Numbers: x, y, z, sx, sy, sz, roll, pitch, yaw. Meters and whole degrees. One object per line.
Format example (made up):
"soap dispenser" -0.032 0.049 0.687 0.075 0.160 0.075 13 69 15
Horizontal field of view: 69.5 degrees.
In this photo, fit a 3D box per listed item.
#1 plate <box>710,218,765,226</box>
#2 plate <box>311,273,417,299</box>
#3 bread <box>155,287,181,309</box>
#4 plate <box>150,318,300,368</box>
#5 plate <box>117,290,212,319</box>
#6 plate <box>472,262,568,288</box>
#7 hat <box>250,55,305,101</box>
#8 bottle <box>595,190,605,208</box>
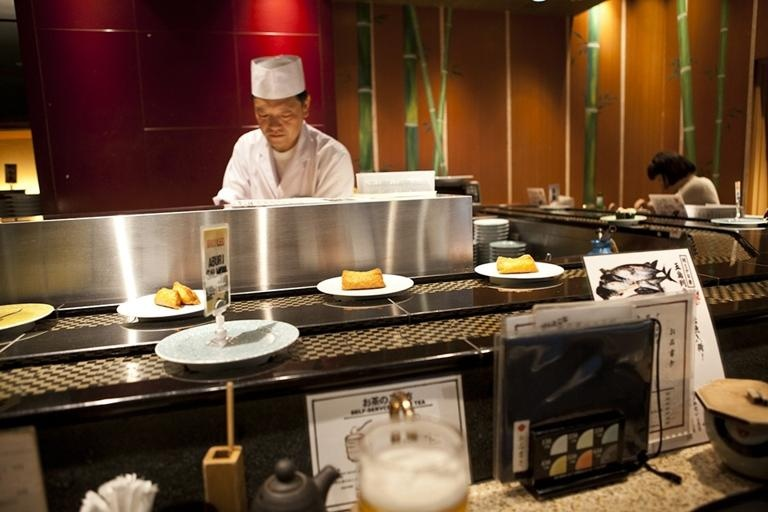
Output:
"plate" 2.093 -0.195 3.264 0.276 0.038 0.340 1 9 38
"plate" -0.071 0.123 2.163 0.362 0.063 0.248 -5 7 -4
"bread" -0.780 0.156 2.035 0.097 0.057 0.039 11 -21 29
"plate" -0.464 0.252 1.663 0.404 0.076 0.249 -6 7 -14
"plate" -0.803 0.183 2.013 0.288 0.064 0.253 -7 7 -21
"plate" 0.577 0.069 2.295 0.357 0.070 0.257 -5 7 -6
"hat" -0.767 -1.336 4.066 0.392 0.242 0.385 -4 36 3
"bottle" 2.487 -0.650 6.376 0.069 0.172 0.176 2 9 41
